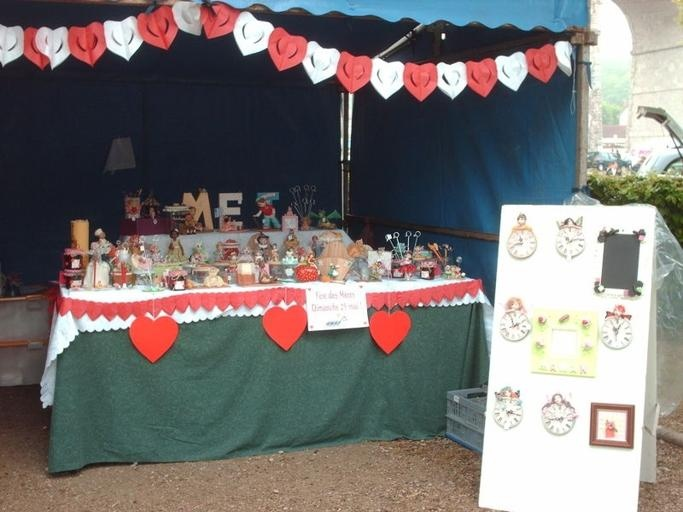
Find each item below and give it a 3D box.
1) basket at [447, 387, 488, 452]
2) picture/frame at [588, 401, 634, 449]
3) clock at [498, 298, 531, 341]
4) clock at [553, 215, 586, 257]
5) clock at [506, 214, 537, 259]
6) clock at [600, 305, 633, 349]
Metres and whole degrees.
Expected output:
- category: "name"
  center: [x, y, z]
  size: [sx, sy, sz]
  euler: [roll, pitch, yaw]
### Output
- category: "basket"
  center: [0.957, 1.265, 5.676]
  size: [0.352, 0.349, 0.371]
  euler: [0, 5, -22]
- category: "picture/frame"
  center: [1.694, 1.066, 4.634]
  size: [0.252, 0.292, 0.031]
  euler: [1, 14, 17]
- category: "clock"
  center: [1.137, 0.442, 4.846]
  size: [0.194, 0.287, 0.068]
  euler: [9, -29, 19]
- category: "clock"
  center: [1.471, -0.115, 4.736]
  size: [0.229, 0.410, 0.064]
  euler: [0, -2, 9]
- category: "clock"
  center: [1.177, -0.125, 4.816]
  size: [0.180, 0.323, 0.032]
  euler: [1, 29, 14]
- category: "clock"
  center: [1.742, 0.450, 4.665]
  size: [0.193, 0.316, 0.051]
  euler: [3, 27, 20]
